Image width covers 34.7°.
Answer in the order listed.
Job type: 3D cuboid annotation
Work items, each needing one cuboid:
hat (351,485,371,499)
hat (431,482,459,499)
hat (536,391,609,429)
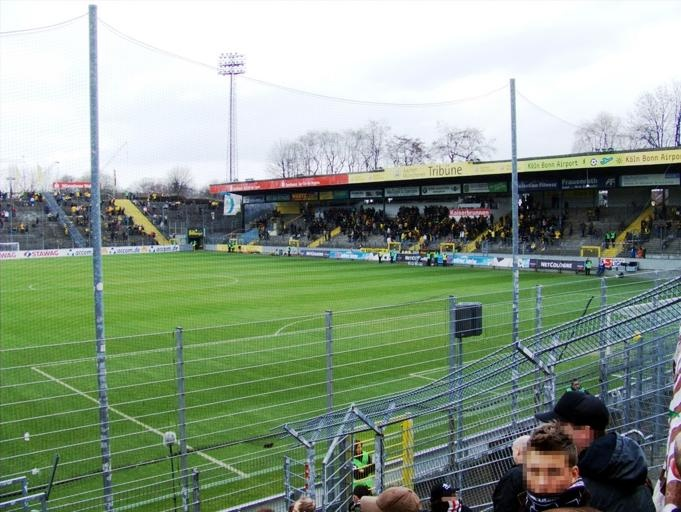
[{"bbox_3d":[0.417,4.325,20.021,0.235,0.267,0.276,2,3,-11],"label":"hat"},{"bbox_3d":[1.811,4.096,19.055,0.358,0.181,0.245,-5,1,-12],"label":"hat"},{"bbox_3d":[4.060,2.634,18.955,1.248,0.646,0.803,7,4,12],"label":"hat"}]
